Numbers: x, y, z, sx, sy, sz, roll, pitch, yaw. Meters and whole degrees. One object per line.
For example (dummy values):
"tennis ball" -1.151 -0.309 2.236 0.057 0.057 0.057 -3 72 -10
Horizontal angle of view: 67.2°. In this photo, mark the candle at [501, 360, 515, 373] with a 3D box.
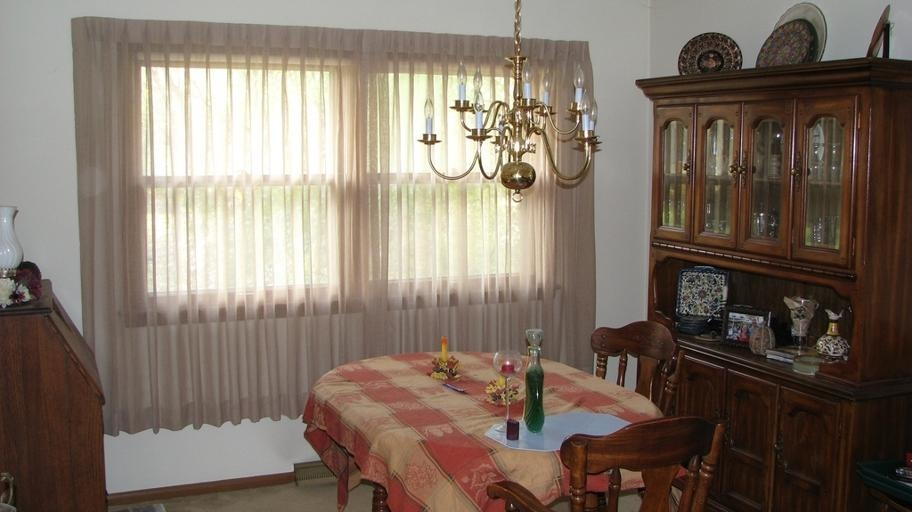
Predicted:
"candle" 0.298 0.639 3.961 0.067 0.061 0.066 3 0 -25
